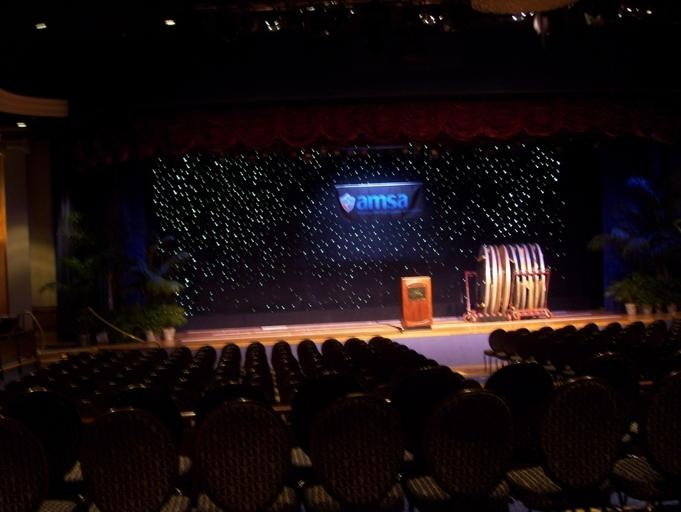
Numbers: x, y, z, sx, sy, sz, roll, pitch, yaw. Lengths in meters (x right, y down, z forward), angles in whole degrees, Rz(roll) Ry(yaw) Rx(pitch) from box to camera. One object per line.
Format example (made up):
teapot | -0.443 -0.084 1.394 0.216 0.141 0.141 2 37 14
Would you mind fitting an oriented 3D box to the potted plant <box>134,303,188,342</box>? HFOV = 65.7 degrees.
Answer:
potted plant | -3.510 1.289 10.311 0.712 0.620 0.721 -1 -2 36
